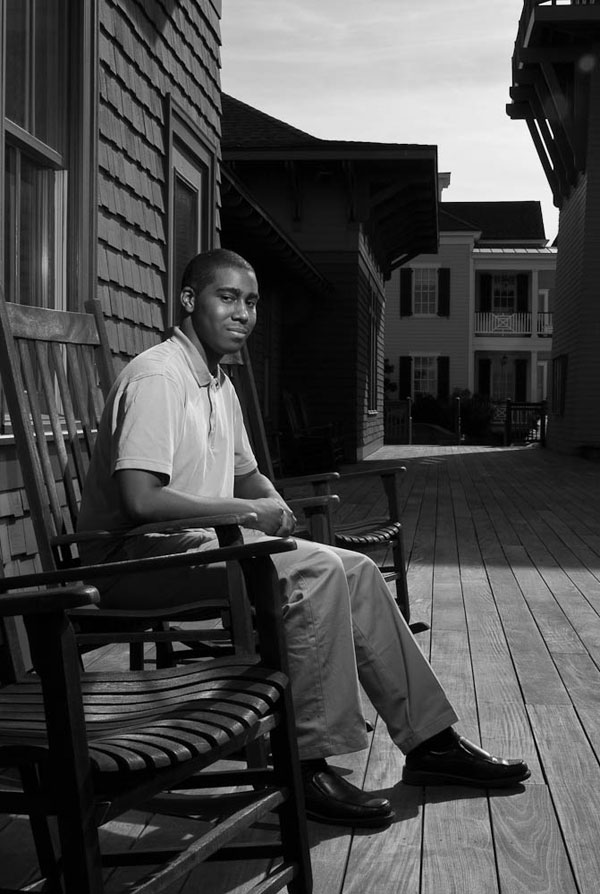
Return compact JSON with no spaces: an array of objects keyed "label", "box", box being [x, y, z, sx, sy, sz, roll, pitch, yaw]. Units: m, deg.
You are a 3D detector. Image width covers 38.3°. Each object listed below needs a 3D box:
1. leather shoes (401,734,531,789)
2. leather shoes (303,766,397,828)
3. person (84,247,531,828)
[{"label":"leather shoes","box":[0.366,0.718,2.015,0.320,0.171,0.121,-1,-1,2]},{"label":"leather shoes","box":[0.084,0.700,1.790,0.229,0.109,0.085,-5,-4,42]},{"label":"person","box":[-0.058,0.179,1.936,0.836,1.286,0.662,2,7,41]}]
